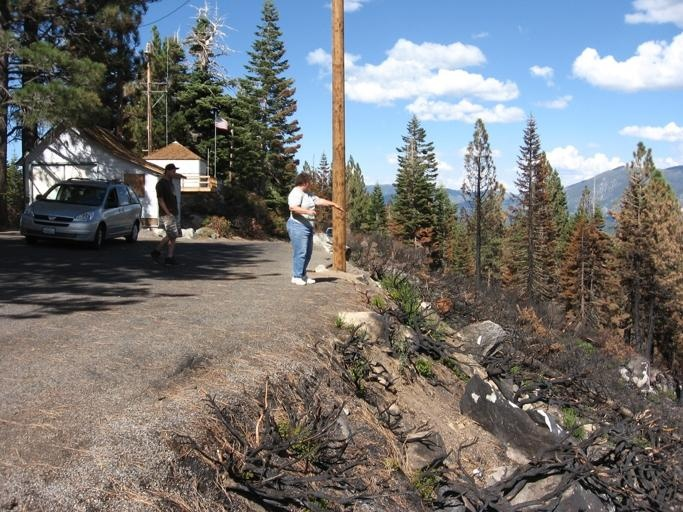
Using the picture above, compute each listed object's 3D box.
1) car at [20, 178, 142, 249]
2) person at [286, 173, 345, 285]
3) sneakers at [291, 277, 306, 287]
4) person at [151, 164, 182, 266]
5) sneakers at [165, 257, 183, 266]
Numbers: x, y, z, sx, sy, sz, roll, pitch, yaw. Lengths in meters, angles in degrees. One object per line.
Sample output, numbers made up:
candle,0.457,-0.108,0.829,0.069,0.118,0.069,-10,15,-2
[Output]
car,-7.986,-1.361,17.990,1.936,1.716,3.681,3,0,4
person,-0.816,-0.519,11.875,0.661,2.369,1.025,1,1,-5
sneakers,-0.952,0.567,12.374,0.335,0.163,0.134,9,8,38
person,-4.294,-1.000,13.930,0.538,2.434,1.541,1,1,-16
sneakers,-4.344,0.154,14.850,0.541,0.267,0.200,2,4,-36
